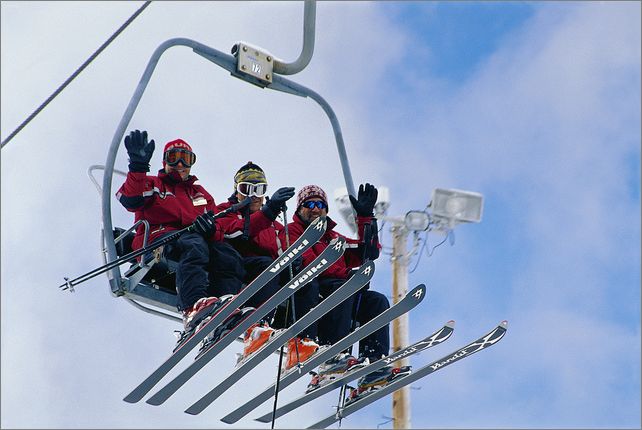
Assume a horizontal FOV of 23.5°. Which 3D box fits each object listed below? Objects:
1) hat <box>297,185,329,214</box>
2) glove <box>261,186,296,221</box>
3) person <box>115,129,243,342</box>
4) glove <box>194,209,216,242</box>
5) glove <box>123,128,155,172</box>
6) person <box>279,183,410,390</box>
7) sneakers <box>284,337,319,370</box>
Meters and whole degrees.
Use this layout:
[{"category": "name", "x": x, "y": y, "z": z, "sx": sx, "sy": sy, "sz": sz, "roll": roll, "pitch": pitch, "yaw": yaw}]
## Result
[{"category": "hat", "x": -0.078, "y": -0.190, "z": 17.634, "sx": 0.336, "sy": 0.258, "sz": 0.360, "roll": -1, "pitch": -9, "yaw": -10}, {"category": "glove", "x": -0.411, "y": -0.103, "z": 15.105, "sx": 0.333, "sy": 0.140, "sz": 0.442, "roll": -21, "pitch": -29, "yaw": -53}, {"category": "person", "x": -1.460, "y": 0.366, "z": 16.123, "sx": 1.467, "sy": 1.747, "sz": 1.079, "roll": 28, "pitch": -56, "yaw": -32}, {"category": "glove", "x": -1.211, "y": 0.124, "z": 16.558, "sx": 0.093, "sy": 0.299, "sz": 0.225, "roll": -1, "pitch": -20, "yaw": 41}, {"category": "glove", "x": -1.914, "y": -0.695, "z": 16.518, "sx": 0.327, "sy": 0.163, "sz": 0.574, "roll": 0, "pitch": -64, "yaw": -2}, {"category": "person", "x": 0.286, "y": 0.849, "z": 17.228, "sx": 0.776, "sy": 3.384, "sz": 0.509, "roll": 2, "pitch": -3, "yaw": -16}, {"category": "sneakers", "x": -0.169, "y": 1.537, "z": 16.668, "sx": 0.379, "sy": 0.256, "sz": 0.127, "roll": -40, "pitch": -39, "yaw": 14}]
